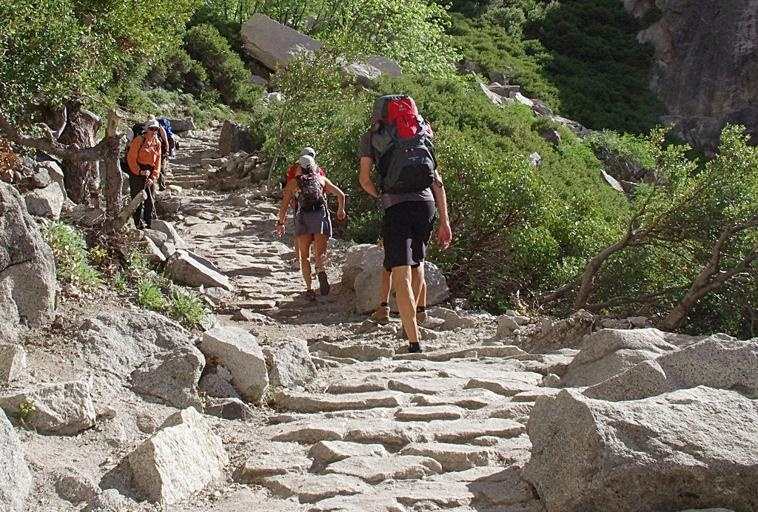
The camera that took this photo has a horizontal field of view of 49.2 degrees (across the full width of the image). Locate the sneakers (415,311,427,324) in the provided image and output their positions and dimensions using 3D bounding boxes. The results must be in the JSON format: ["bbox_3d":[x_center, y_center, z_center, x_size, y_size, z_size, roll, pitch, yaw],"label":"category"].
[{"bbox_3d":[0.510,0.768,10.439,0.086,0.117,0.187,-5,-8,-42],"label":"sneakers"}]

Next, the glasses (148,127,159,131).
[{"bbox_3d":[-3.763,-2.141,13.686,0.056,0.065,0.191,12,12,23],"label":"glasses"}]

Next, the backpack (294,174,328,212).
[{"bbox_3d":[-1.001,-0.948,12.074,0.432,0.586,0.360,-8,-4,4],"label":"backpack"}]

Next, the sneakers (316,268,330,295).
[{"bbox_3d":[-0.834,0.388,12.351,0.155,0.363,0.155,1,7,2],"label":"sneakers"}]
